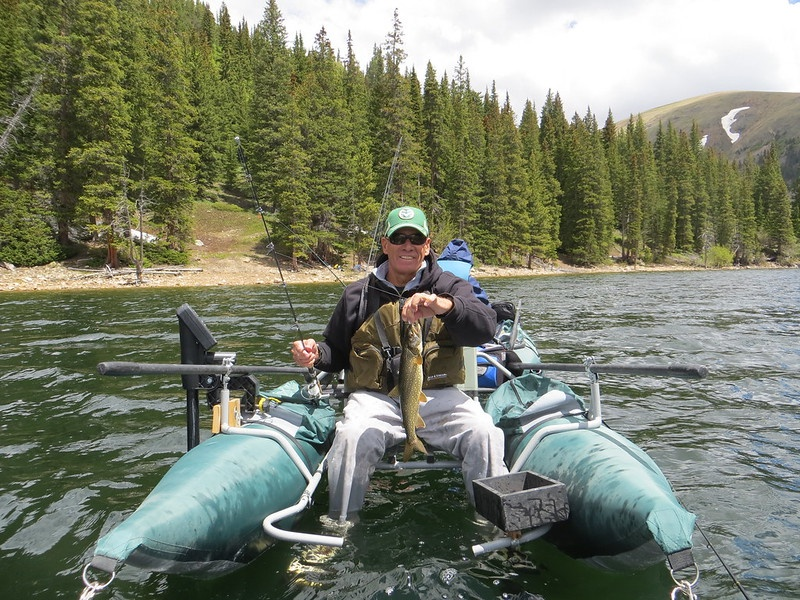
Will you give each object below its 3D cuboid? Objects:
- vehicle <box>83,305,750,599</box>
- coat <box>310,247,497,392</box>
[{"bbox_3d":[-0.028,1.018,4.705,3.866,1.912,2.294,-1,4,-2],"label":"vehicle"},{"bbox_3d":[0.015,0.072,5.287,1.810,1.116,1.224,-3,8,-7],"label":"coat"}]
